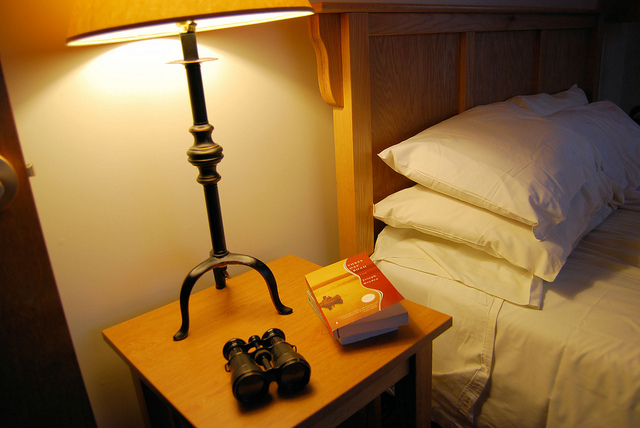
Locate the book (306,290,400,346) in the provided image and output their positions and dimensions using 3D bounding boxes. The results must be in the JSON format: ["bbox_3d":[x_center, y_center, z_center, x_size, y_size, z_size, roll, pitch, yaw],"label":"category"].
[{"bbox_3d":[0.115,0.303,1.308,0.167,0.039,0.160,-12,36,-21],"label":"book"}]

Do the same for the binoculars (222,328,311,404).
[{"bbox_3d":[-0.144,0.379,1.216,0.190,0.082,0.204,-9,15,-17],"label":"binoculars"}]

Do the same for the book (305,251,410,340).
[{"bbox_3d":[0.088,0.236,1.376,0.271,0.063,0.301,-6,34,-2],"label":"book"}]

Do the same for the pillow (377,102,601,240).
[{"bbox_3d":[0.682,-0.274,1.634,0.551,0.166,0.555,-33,48,-29],"label":"pillow"}]
